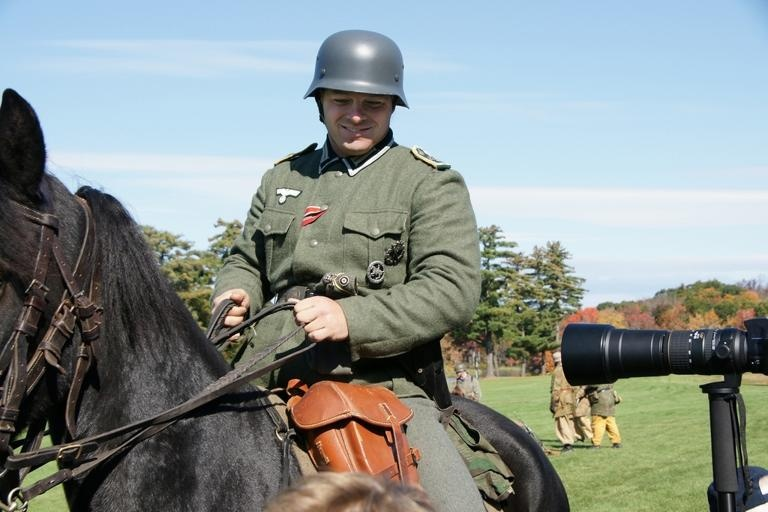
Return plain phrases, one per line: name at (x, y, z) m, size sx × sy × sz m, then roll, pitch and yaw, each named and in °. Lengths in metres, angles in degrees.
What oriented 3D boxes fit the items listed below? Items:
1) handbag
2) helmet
handbag at (-0.121, 0.870, 4.254) m, size 0.529 × 0.535 × 0.700 m, roll -4°, pitch -7°, yaw 27°
helmet at (-0.135, -1.045, 4.896) m, size 0.589 × 0.366 × 0.610 m, roll 3°, pitch 6°, yaw -16°
